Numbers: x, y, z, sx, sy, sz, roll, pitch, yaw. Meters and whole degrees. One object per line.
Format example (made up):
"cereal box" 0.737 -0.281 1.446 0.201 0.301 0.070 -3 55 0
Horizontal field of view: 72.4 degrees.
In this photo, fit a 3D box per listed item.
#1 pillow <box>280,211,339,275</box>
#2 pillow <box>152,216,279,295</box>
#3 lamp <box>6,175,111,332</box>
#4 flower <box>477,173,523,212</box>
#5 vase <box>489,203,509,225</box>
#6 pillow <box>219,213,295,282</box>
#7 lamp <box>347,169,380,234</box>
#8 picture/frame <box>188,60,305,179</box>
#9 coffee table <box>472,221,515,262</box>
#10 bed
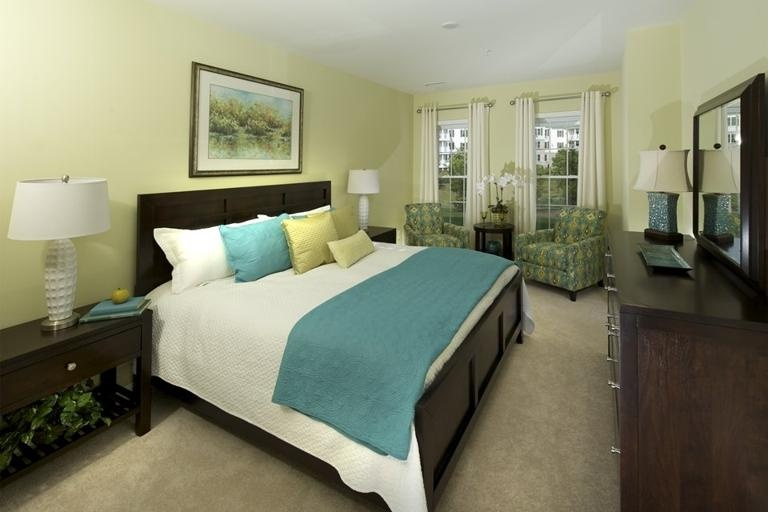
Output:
"pillow" -0.723 -0.111 4.975 0.184 0.485 0.638 -12 2 38
"pillow" -1.661 -0.024 4.802 0.405 0.399 0.998 29 14 9
"lamp" -2.332 -0.023 3.807 0.633 1.087 0.251 -7 12 -29
"flower" 1.679 -0.899 7.640 0.513 0.535 0.589 6 -10 -19
"vase" 1.653 -0.604 7.593 0.310 0.338 0.325 0 4 -1
"pillow" -1.137 -0.077 4.882 0.246 0.540 0.722 3 13 37
"lamp" -0.264 -0.723 6.782 0.372 0.684 0.388 -6 -2 -17
"picture/frame" -1.456 -1.395 5.357 0.053 1.006 1.338 9 8 36
"coffee table" 1.634 -0.228 7.656 0.570 0.686 0.614 -2 7 -7
"bed" -0.416 0.397 4.986 3.028 2.015 2.797 6 13 27
